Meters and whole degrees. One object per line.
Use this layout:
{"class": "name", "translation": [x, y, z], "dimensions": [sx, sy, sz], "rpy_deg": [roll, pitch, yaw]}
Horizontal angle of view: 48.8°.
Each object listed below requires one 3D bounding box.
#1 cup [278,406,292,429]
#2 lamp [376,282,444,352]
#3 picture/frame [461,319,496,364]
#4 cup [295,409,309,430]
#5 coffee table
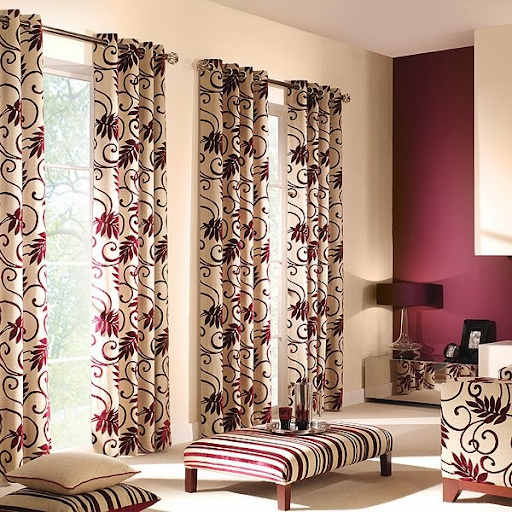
{"class": "cup", "translation": [0.161, 0.906, 3.194], "dimensions": [0.088, 0.155, 0.091], "rpy_deg": [0, -3, 0]}
{"class": "lamp", "translation": [1.663, 0.628, 6.058], "dimensions": [0.717, 0.790, 0.674], "rpy_deg": [-6, -8, 42]}
{"class": "picture/frame", "translation": [2.193, 0.835, 5.650], "dimensions": [0.292, 0.458, 0.086], "rpy_deg": [3, -14, 34]}
{"class": "cup", "translation": [0.260, 0.907, 3.172], "dimensions": [0.085, 0.109, 0.089], "rpy_deg": [0, -2, 0]}
{"class": "coffee table", "translation": [0.227, 1.104, 3.065], "dimensions": [1.164, 0.303, 0.694], "rpy_deg": [3, -7, -30]}
